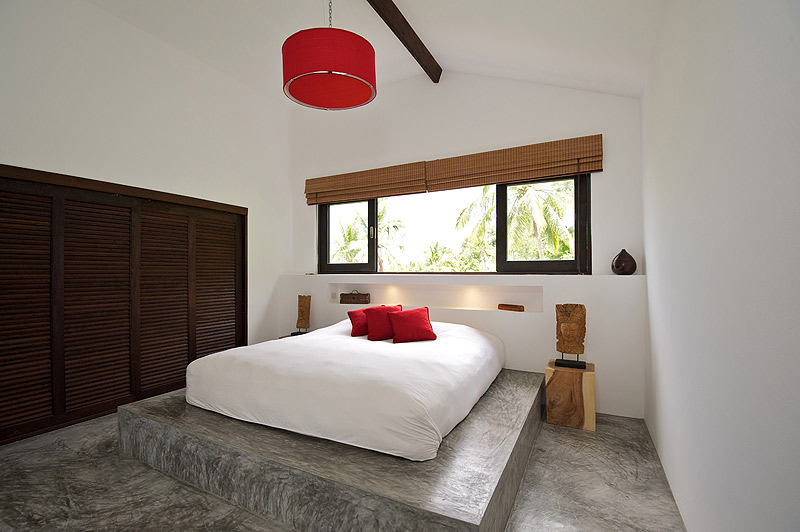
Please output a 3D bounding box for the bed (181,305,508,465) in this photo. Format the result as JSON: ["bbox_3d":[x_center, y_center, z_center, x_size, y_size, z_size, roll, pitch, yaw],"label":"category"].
[{"bbox_3d":[-0.384,0.942,3.982,2.320,0.654,1.375,0,-1,8],"label":"bed"}]

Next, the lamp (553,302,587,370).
[{"bbox_3d":[1.530,0.619,4.484,0.268,0.581,0.187,1,7,22],"label":"lamp"}]

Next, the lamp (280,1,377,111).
[{"bbox_3d":[-0.482,-1.511,3.914,0.658,0.797,0.686,-1,-3,0],"label":"lamp"}]
